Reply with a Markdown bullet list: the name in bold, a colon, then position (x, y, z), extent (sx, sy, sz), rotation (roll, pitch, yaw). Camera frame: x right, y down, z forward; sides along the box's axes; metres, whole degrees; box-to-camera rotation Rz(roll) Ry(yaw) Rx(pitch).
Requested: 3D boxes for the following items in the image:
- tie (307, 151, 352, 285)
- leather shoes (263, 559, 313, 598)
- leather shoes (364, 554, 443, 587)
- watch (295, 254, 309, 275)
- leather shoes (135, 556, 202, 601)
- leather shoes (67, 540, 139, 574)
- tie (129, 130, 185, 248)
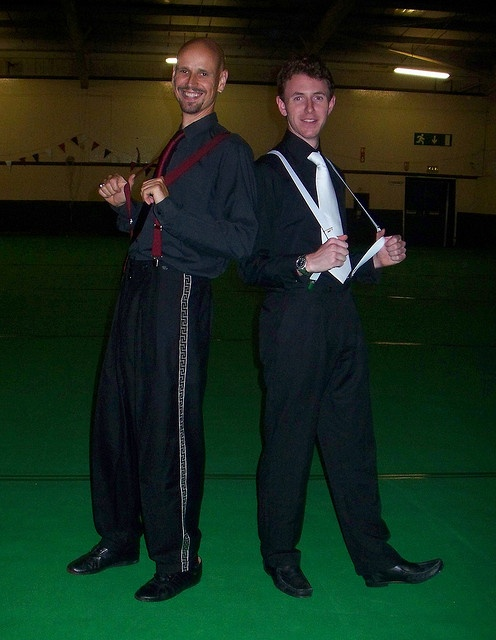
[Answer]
- **tie**: position (0.210, -0.262, 1.505), extent (0.130, 0.334, 0.204), rotation (4, 13, 5)
- **leather shoes**: position (0.103, 0.657, 1.512), extent (0.063, 0.043, 0.120), rotation (0, 4, -38)
- **leather shoes**: position (0.409, 0.670, 1.561), extent (0.173, 0.063, 0.052), rotation (-14, 11, -3)
- **watch**: position (0.130, -0.131, 1.428), extent (0.019, 0.042, 0.034), rotation (-7, 45, -12)
- **leather shoes**: position (-0.196, 0.668, 1.521), extent (0.074, 0.078, 0.207), rotation (-2, -3, 41)
- **leather shoes**: position (-0.387, 0.640, 1.618), extent (0.193, 0.064, 0.066), rotation (3, 9, -31)
- **tie**: position (-0.238, -0.310, 1.504), extent (0.032, 0.346, 0.108), rotation (27, 19, -13)
